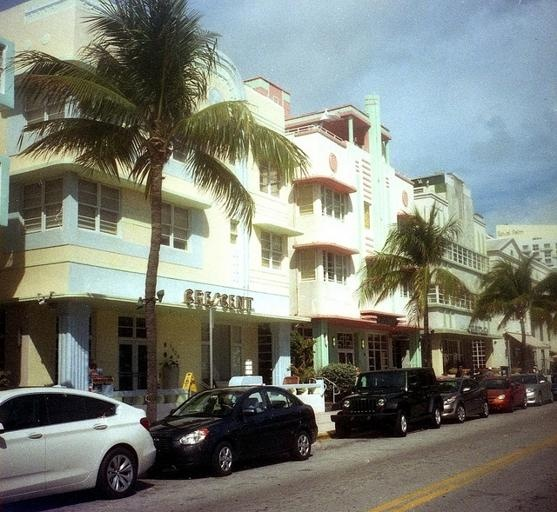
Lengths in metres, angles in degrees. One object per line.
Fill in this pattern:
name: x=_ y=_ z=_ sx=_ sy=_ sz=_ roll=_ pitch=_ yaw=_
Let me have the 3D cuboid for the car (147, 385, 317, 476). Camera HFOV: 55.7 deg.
car: x=-0.928 y=3.332 z=10.156 sx=1.488 sy=1.243 sz=2.784 roll=-11 pitch=-17 yaw=35

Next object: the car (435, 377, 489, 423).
car: x=6.829 y=5.378 z=19.818 sx=1.446 sy=1.264 sz=2.486 roll=-11 pitch=-19 yaw=36

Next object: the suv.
suv: x=3.586 y=4.479 z=16.321 sx=1.768 sy=1.738 sz=3.500 roll=-8 pitch=-16 yaw=30
